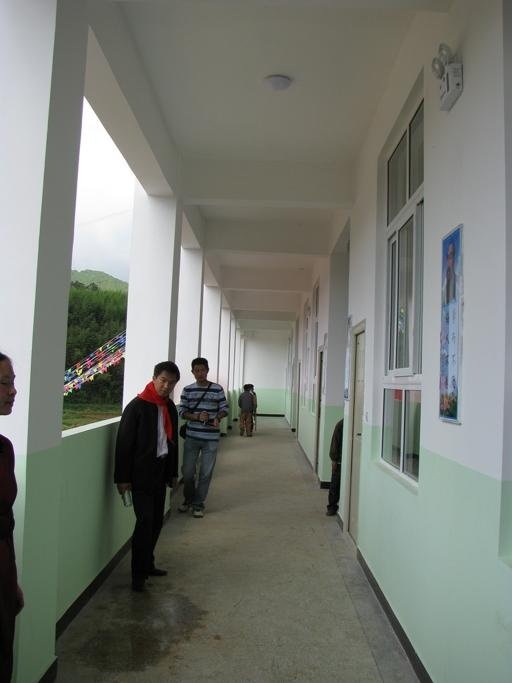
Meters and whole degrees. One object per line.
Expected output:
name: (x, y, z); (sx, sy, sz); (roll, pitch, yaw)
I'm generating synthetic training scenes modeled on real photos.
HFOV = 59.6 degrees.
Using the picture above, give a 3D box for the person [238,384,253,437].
person: (-0.284, 2.055, 13.385); (0.417, 1.519, 0.726); (2, -5, -2)

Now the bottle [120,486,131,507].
bottle: (-0.884, 1.062, 3.044); (0.072, 0.136, 0.101); (2, -6, 0)

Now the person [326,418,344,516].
person: (0.914, 1.491, 5.241); (0.185, 1.148, 0.686); (1, -6, 9)

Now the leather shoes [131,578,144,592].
leather shoes: (-0.821, 1.708, 3.111); (0.038, 0.100, 0.131); (14, -41, -12)

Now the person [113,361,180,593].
person: (-0.755, 0.941, 3.235); (0.331, 1.599, 0.593); (-1, -6, 22)

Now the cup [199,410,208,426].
cup: (-0.577, 0.847, 4.931); (0.081, 0.150, 0.116); (2, -6, 4)

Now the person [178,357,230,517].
person: (-0.624, 1.100, 5.134); (0.526, 1.800, 0.690); (3, -5, -10)

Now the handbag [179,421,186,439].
handbag: (-0.826, 1.030, 5.094); (0.067, 0.179, 0.385); (3, -7, -11)

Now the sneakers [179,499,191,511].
sneakers: (-0.840, 1.960, 5.340); (0.057, 0.111, 0.190); (1, -21, -3)

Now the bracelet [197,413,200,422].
bracelet: (-0.626, 0.830, 4.911); (0.045, 0.067, 0.045); (0, 2, -24)

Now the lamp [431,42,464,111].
lamp: (0.852, -1.200, 2.033); (0.094, 0.334, 0.299); (0, -6, 14)
